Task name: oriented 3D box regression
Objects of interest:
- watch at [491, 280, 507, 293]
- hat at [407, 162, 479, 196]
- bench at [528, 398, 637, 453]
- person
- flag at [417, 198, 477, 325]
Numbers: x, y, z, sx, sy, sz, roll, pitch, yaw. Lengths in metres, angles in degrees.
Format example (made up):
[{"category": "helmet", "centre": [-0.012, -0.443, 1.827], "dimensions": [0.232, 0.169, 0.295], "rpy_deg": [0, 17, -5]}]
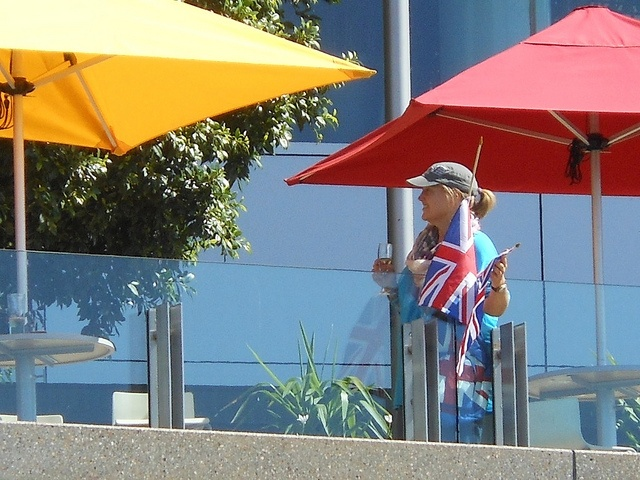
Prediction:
[{"category": "watch", "centre": [1.016, 0.258, 10.032], "dimensions": [0.052, 0.026, 0.053], "rpy_deg": [-36, -11, 36]}, {"category": "hat", "centre": [0.756, -0.372, 10.522], "dimensions": [0.293, 0.148, 0.210], "rpy_deg": [9, -5, -2]}, {"category": "bench", "centre": [1.400, 1.110, 10.258], "dimensions": [0.334, 0.252, 0.319], "rpy_deg": [9, -13, -35]}, {"category": "person", "centre": [0.709, 0.395, 10.366], "dimensions": [0.665, 2.165, 1.083], "rpy_deg": [8, -14, -18]}, {"category": "flag", "centre": [0.762, 0.123, 10.086], "dimensions": [0.292, 0.682, 0.229], "rpy_deg": [2, 7, -35]}]
